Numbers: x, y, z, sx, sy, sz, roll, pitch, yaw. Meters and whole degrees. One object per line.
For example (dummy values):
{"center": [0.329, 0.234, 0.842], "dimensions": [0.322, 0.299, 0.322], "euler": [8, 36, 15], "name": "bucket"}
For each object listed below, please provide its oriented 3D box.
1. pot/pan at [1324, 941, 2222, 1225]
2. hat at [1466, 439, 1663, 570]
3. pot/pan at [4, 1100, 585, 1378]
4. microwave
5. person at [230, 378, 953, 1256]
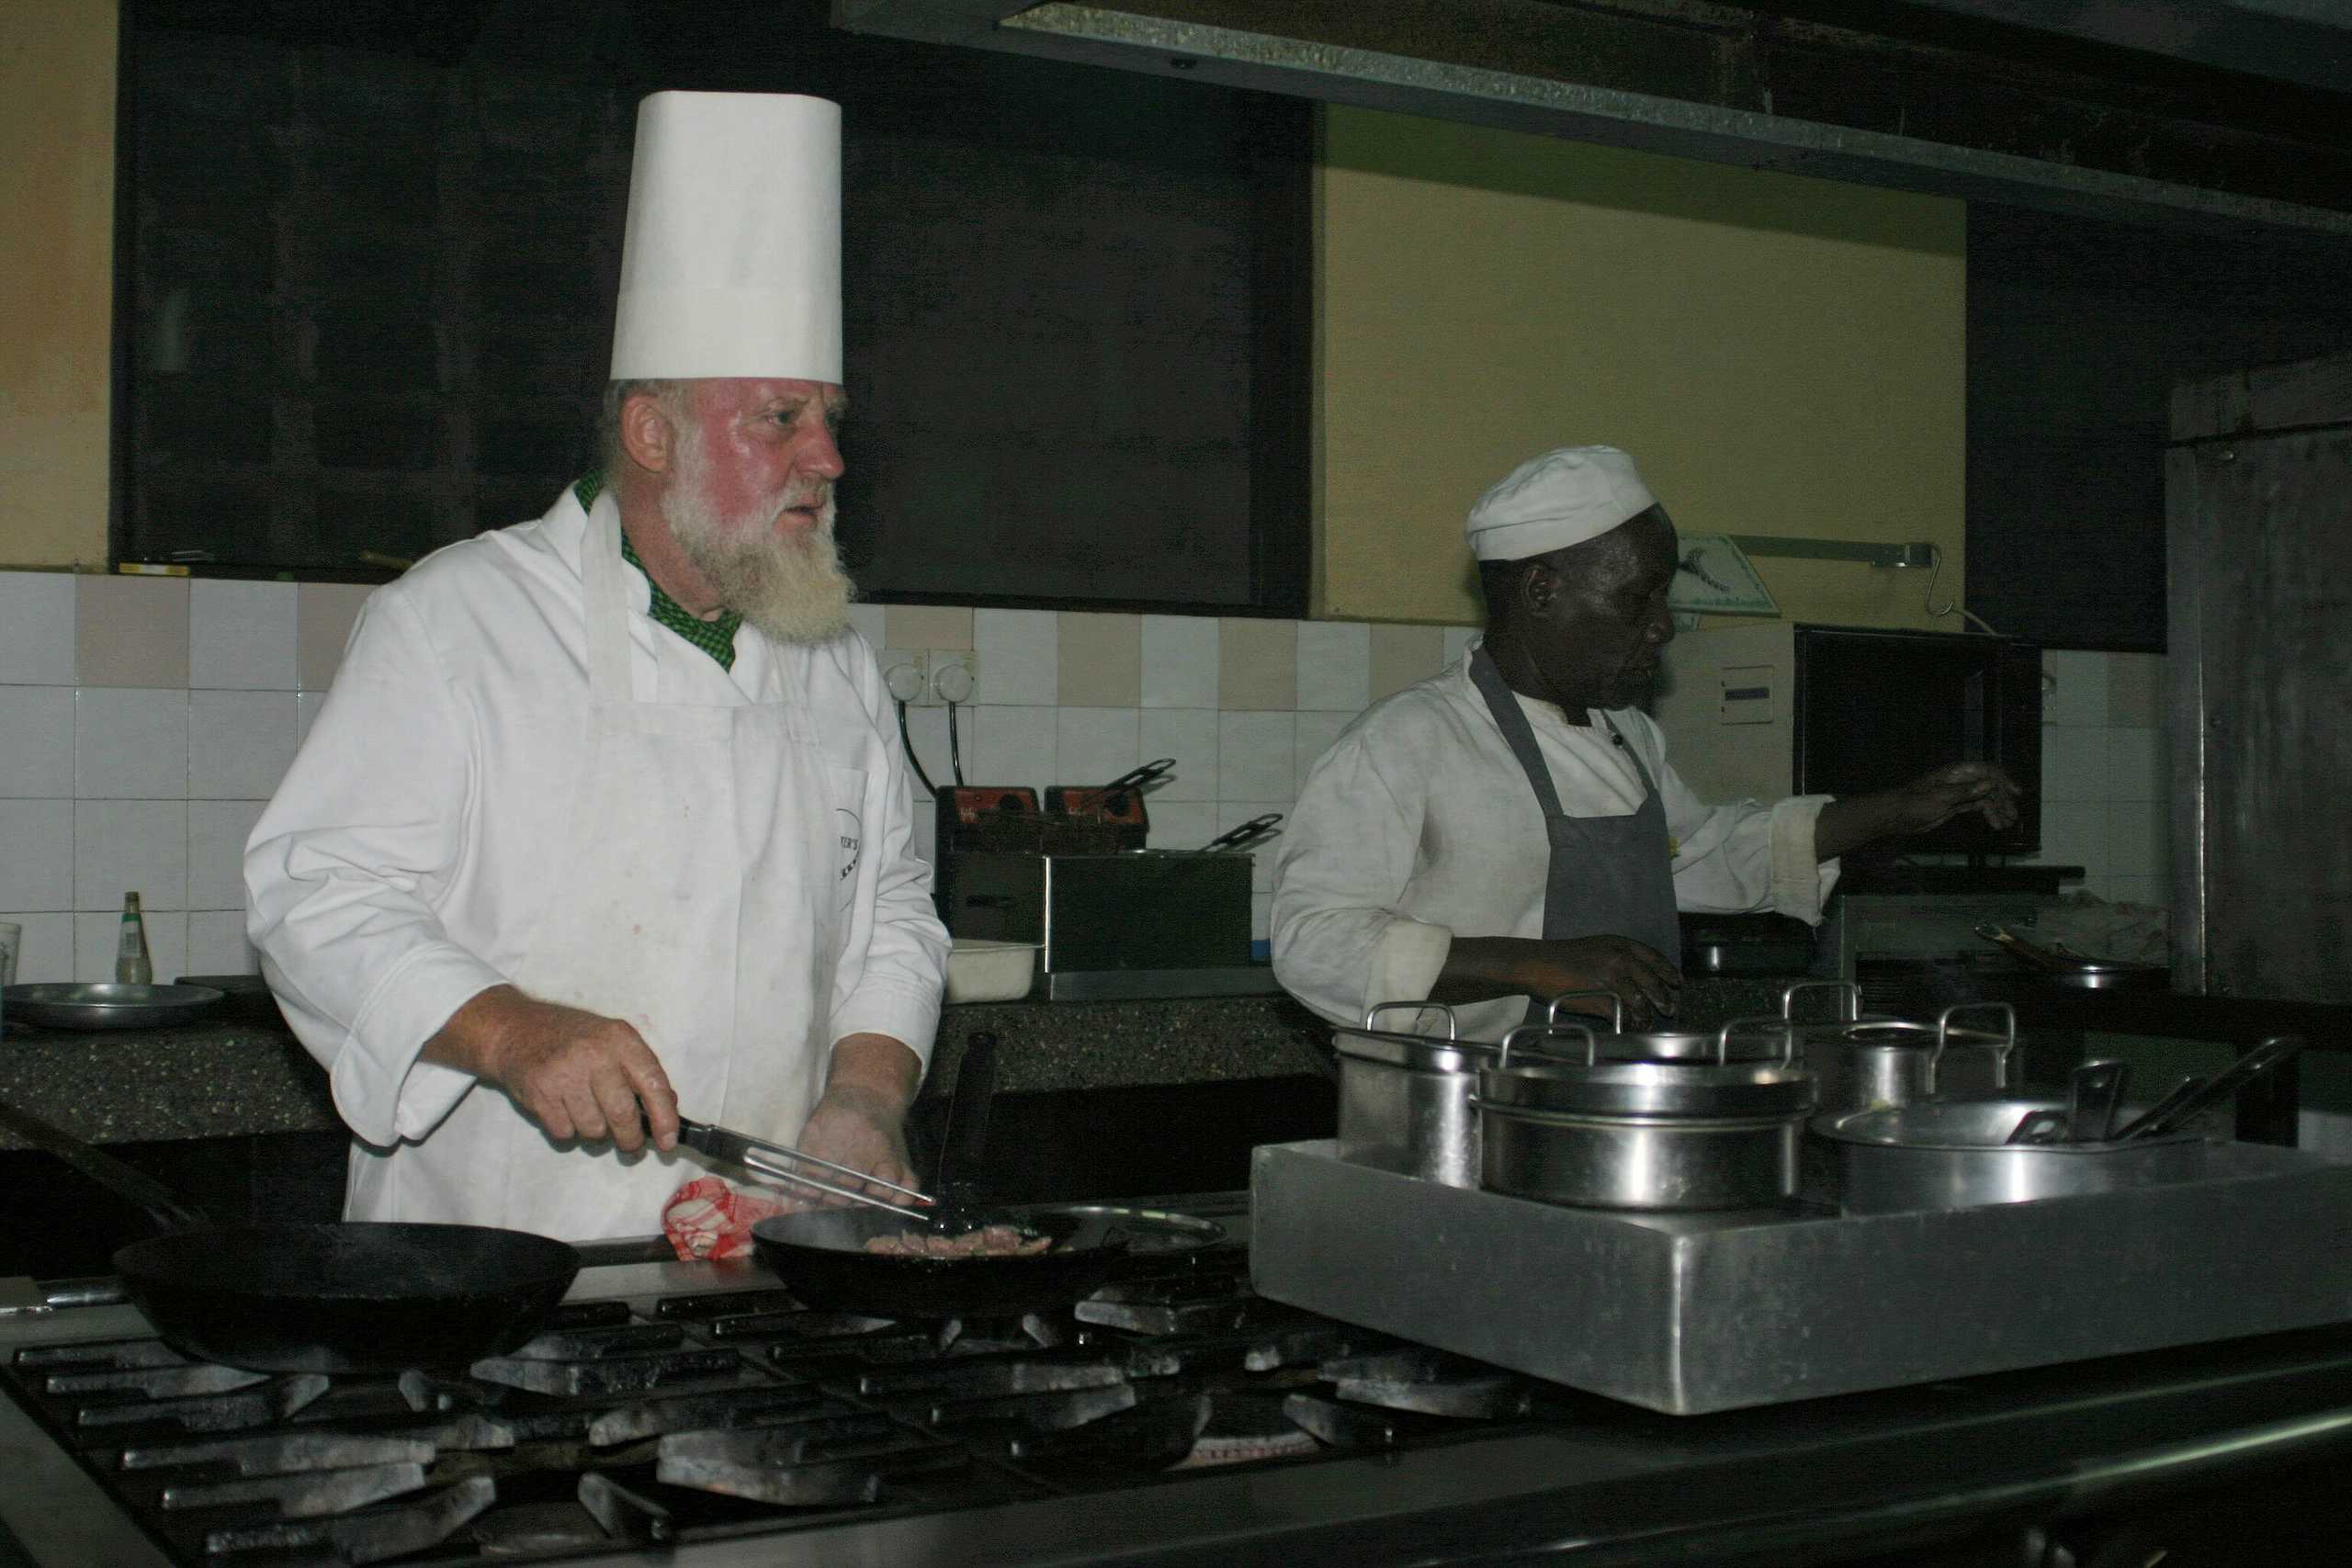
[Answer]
{"center": [0.627, 0.338, 2.676], "dimensions": [0.809, 0.181, 0.415], "euler": [1, -2, -19], "name": "pot/pan"}
{"center": [0.615, -0.468, 4.068], "dimensions": [0.312, 0.129, 0.292], "euler": [-16, 13, -10], "name": "hat"}
{"center": [-0.870, 0.417, 2.552], "dimensions": [0.515, 0.067, 0.280], "euler": [6, -1, 32], "name": "pot/pan"}
{"center": [1.422, -0.067, 5.351], "dimensions": [0.799, 0.448, 0.533], "euler": [1, -3, -23], "name": "microwave"}
{"center": [-0.710, -0.033, 3.280], "dimensions": [0.555, 0.979, 0.789], "euler": [0, -2, 28], "name": "person"}
